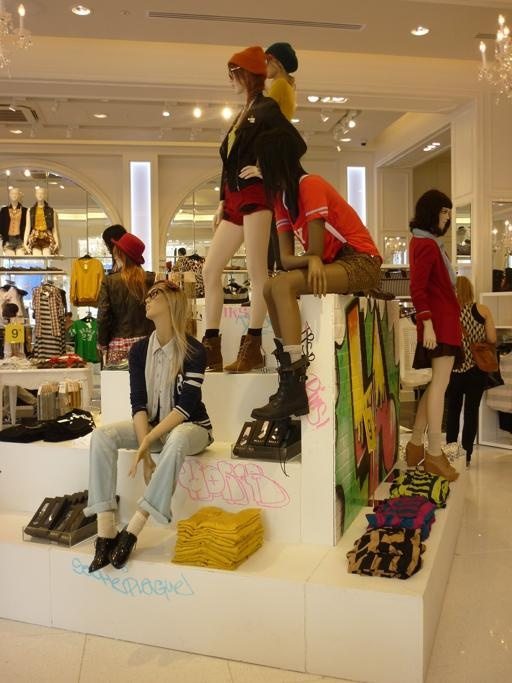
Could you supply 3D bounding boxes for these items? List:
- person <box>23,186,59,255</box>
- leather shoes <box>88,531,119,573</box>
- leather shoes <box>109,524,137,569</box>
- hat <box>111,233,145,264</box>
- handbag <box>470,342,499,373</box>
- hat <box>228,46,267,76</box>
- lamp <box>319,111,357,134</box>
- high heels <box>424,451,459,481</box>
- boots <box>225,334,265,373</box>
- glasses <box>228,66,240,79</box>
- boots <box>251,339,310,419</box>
[{"bbox_3d":[-3.174,-1.732,7.427,0.472,0.996,0.233,0,-5,-25],"label":"person"},{"bbox_3d":[-0.521,0.714,1.729,0.050,0.065,0.165,-2,14,11],"label":"leather shoes"},{"bbox_3d":[-0.450,0.698,1.718,0.046,0.058,0.140,35,17,-15],"label":"leather shoes"},{"bbox_3d":[-0.787,-0.591,3.256,0.193,0.183,0.253,-5,-5,36],"label":"hat"},{"bbox_3d":[1.744,0.123,3.852,0.233,0.288,0.130,-1,-3,-5],"label":"handbag"},{"bbox_3d":[-0.037,-1.234,2.274,0.136,0.088,0.135,16,13,-16],"label":"hat"},{"bbox_3d":[1.092,-2.955,6.792,0.496,0.119,0.447,2,-17,-5],"label":"lamp"},{"bbox_3d":[1.006,0.665,2.771,0.217,0.146,0.123,9,2,27],"label":"high heels"},{"bbox_3d":[-0.038,0.068,2.483,0.108,0.182,0.251,0,1,38],"label":"boots"},{"bbox_3d":[-0.101,-1.218,2.281,0.041,0.038,0.036,0,0,-35],"label":"glasses"},{"bbox_3d":[0.080,0.131,1.768,0.200,0.273,0.096,-2,-4,4],"label":"boots"}]
